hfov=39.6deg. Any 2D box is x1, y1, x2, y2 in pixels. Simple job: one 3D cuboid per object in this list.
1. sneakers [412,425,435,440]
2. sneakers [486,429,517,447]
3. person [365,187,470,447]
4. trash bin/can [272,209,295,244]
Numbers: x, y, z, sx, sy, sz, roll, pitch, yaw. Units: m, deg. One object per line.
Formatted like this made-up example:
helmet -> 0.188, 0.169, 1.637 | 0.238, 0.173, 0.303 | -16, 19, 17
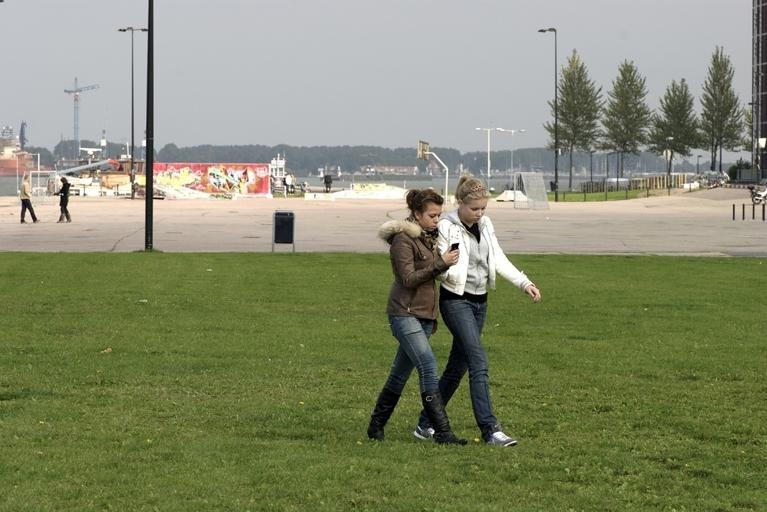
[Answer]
sneakers -> 0.482, 2.149, 12.814 | 0.278, 0.099, 0.119 | 13, -34, -10
sneakers -> 1.403, 2.166, 12.616 | 0.323, 0.142, 0.169 | 1, 2, 22
person -> 0.387, 0.722, 12.595 | 1.054, 3.023, 0.506 | 1, 7, 2
trash bin/can -> -2.239, -0.666, 24.724 | 0.615, 0.937, 0.662 | 0, 2, 11
